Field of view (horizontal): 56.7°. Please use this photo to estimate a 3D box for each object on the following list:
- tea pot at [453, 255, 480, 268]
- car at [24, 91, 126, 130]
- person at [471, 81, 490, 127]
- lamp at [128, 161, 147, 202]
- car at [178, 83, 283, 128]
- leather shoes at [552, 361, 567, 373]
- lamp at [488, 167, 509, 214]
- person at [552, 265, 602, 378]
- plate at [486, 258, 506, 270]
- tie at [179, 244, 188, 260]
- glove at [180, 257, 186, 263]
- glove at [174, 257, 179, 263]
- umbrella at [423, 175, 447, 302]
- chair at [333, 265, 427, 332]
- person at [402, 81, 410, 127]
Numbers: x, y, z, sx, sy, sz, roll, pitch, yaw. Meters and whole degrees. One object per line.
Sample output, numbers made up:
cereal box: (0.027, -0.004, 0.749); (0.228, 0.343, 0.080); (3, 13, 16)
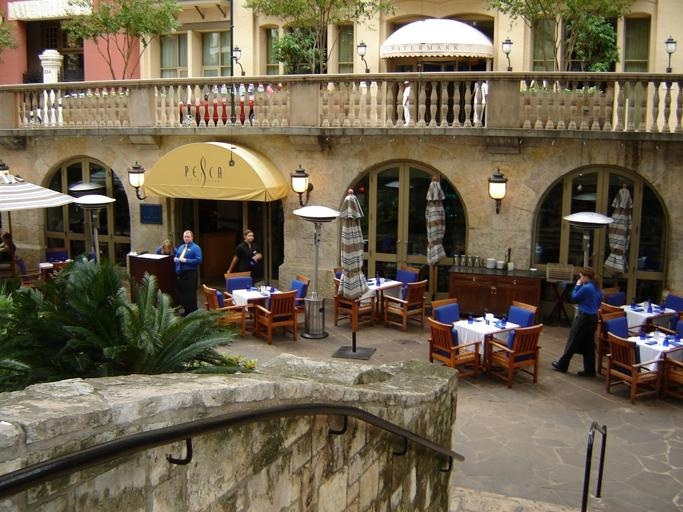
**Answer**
tea pot: (3.200, 0.123, 16.082); (0.667, 0.238, 0.249); (3, 12, 10)
car: (-7.742, -4.391, 18.688); (3.467, 1.133, 0.603); (7, 14, 26)
person: (3.405, -3.762, 15.504); (0.351, 1.099, 0.376); (-2, 12, -11)
lamp: (-5.794, -2.110, 18.150); (0.399, 1.163, 1.497); (-3, 13, -16)
car: (-3.036, -4.183, 17.296); (2.858, 1.048, 1.266); (3, 6, 4)
leather shoes: (4.366, 2.230, 12.696); (0.114, 0.140, 0.310); (-8, 22, -32)
lamp: (3.864, -1.602, 15.743); (0.475, 1.117, 0.695); (4, 13, 14)
person: (4.693, 1.297, 12.517); (0.780, 2.094, 0.579); (4, 13, 14)
plate: (3.884, 0.195, 15.931); (0.397, 0.205, 0.249); (0, 4, 6)
tie: (-3.670, -0.084, 14.761); (0.223, 0.359, 0.123); (-2, -20, 33)
glove: (-3.649, 0.075, 14.674); (0.066, 0.069, 0.129); (-14, 8, 16)
glove: (-3.836, 0.081, 14.801); (0.116, 0.079, 0.155); (3, 3, -31)
umbrella: (2.459, -0.465, 16.600); (0.511, 3.329, 0.809); (6, 13, 24)
chair: (0.909, 0.986, 15.510); (2.115, 1.296, 1.325); (2, 4, 32)
person: (1.631, -3.883, 15.966); (0.218, 1.078, 0.520); (0, 12, -3)
